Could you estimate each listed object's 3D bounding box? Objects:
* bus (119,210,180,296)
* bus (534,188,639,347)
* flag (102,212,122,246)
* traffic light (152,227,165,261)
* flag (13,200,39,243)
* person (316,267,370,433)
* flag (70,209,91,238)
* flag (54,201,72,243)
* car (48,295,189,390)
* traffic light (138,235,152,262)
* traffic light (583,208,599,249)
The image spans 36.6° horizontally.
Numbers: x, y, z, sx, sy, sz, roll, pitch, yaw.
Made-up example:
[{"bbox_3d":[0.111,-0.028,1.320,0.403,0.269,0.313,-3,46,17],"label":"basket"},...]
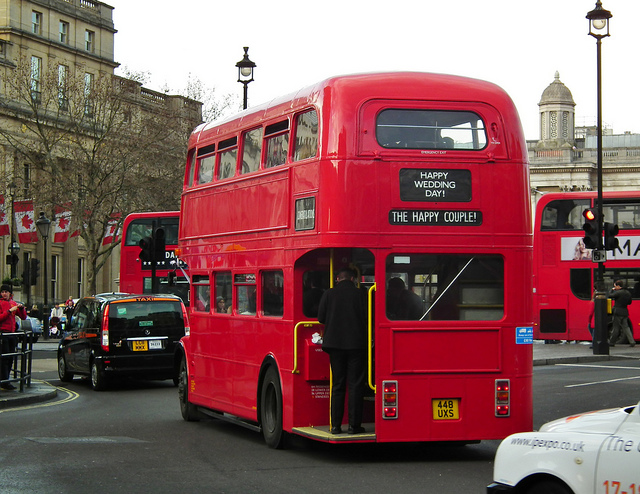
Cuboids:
[{"bbox_3d":[-5.990,0.618,36.135,2.352,3.643,2.254,-1,3,6],"label":"bus"},{"bbox_3d":[8.793,0.631,31.752,4.973,4.525,1.939,1,4,7],"label":"bus"},{"bbox_3d":[-10.535,-0.991,49.079,0.096,2.093,1.837,21,-25,-35],"label":"flag"},{"bbox_3d":[-4.425,-0.065,26.696,0.320,0.870,0.843,2,-2,-9],"label":"traffic light"},{"bbox_3d":[-14.347,-1.367,47.354,1.074,2.163,5.345,2,-2,-18],"label":"flag"},{"bbox_3d":[0.282,1.369,12.147,0.619,1.874,0.311,1,-1,-1],"label":"person"},{"bbox_3d":[-12.192,-1.265,49.517,0.099,0.590,1.211,-13,-21,-43],"label":"flag"},{"bbox_3d":[-12.874,-1.372,48.675,0.138,2.840,2.102,14,-7,-8],"label":"flag"},{"bbox_3d":[-4.681,2.125,22.157,2.096,1.374,3.127,1,-1,-24],"label":"car"},{"bbox_3d":[-4.854,0.060,27.067,0.328,0.652,1.213,2,-2,-11],"label":"traffic light"},{"bbox_3d":[7.062,-0.510,25.293,0.340,1.062,0.838,1,-2,21],"label":"traffic light"}]
